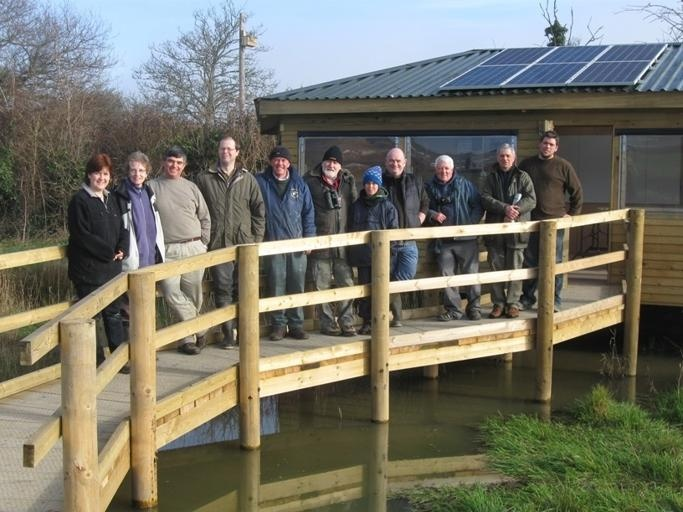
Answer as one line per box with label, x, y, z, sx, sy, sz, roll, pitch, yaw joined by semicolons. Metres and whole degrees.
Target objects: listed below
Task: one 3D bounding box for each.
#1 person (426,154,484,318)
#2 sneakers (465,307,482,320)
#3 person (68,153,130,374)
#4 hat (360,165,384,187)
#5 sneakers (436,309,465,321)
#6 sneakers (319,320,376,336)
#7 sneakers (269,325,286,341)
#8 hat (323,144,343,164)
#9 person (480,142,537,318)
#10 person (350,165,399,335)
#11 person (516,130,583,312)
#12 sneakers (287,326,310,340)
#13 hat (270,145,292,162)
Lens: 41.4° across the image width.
person;1.434;-0.218;11.393;0.695;2.065;0.631;0;9;8
sneakers;1.654;0.716;11.322;0.184;0.143;0.163;-2;10;0
person;-2.658;0.056;9.987;0.618;2.391;0.644;15;25;25
hat;0.373;-0.937;10.916;0.182;0.230;0.286;7;-27;7
sneakers;1.367;0.740;11.338;0.315;0.163;0.126;2;0;-16
sneakers;0.081;0.912;10.814;0.617;0.291;0.222;-5;-5;29
sneakers;-0.747;0.911;10.656;0.089;0.130;0.273;7;-5;9
hat;-0.089;-1.252;10.986;0.183;0.206;0.267;18;-6;1
person;2.070;-0.325;11.487;0.630;2.140;0.722;5;11;37
person;0.437;-0.071;10.813;0.651;1.932;0.809;-4;9;-17
person;2.651;-0.504;11.796;0.825;2.402;0.706;1;-18;18
sneakers;-0.503;0.926;10.684;0.249;0.124;0.105;-2;-2;36
hat;-0.725;-1.226;10.716;0.166;0.167;0.184;1;-2;-5
